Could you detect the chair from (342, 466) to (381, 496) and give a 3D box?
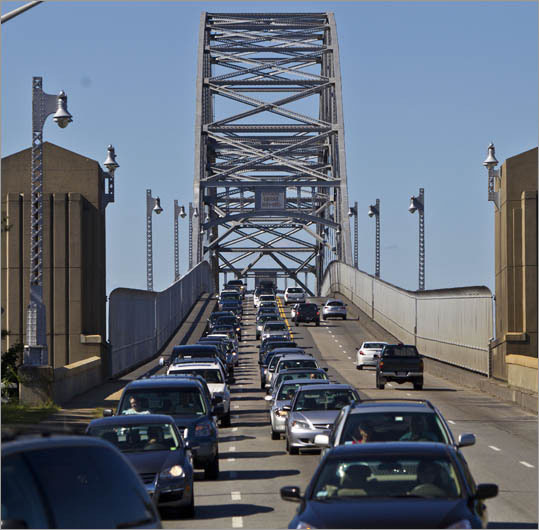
[{"bbox_3d":[0.828,1.996,11.966,0.339,0.281,0.446,-1,0,4],"label":"chair"}]

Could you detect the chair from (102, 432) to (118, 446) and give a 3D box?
[{"bbox_3d":[-2.008,2.166,16.026,0.175,0.193,0.354,-1,0,0],"label":"chair"}]

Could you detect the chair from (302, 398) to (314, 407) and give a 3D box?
[{"bbox_3d":[0.657,2.387,22.341,0.165,0.163,0.158,-1,-6,-2],"label":"chair"}]
